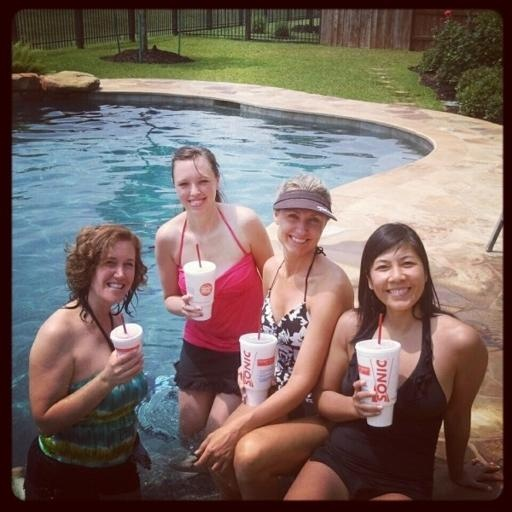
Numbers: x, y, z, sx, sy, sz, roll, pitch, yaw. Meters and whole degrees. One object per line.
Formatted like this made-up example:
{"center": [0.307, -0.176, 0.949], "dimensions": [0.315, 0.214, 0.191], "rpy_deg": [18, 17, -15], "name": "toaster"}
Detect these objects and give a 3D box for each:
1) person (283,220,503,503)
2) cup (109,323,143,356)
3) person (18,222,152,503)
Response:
{"center": [0.637, 0.503, 1.924], "dimensions": [0.953, 1.242, 0.602], "rpy_deg": [2, 14, 4], "name": "person"}
{"center": [-0.543, 0.335, 1.940], "dimensions": [0.144, 0.096, 0.132], "rpy_deg": [-2, 21, 1], "name": "cup"}
{"center": [-0.819, 0.564, 2.154], "dimensions": [0.590, 1.393, 0.617], "rpy_deg": [-3, 14, -13], "name": "person"}
